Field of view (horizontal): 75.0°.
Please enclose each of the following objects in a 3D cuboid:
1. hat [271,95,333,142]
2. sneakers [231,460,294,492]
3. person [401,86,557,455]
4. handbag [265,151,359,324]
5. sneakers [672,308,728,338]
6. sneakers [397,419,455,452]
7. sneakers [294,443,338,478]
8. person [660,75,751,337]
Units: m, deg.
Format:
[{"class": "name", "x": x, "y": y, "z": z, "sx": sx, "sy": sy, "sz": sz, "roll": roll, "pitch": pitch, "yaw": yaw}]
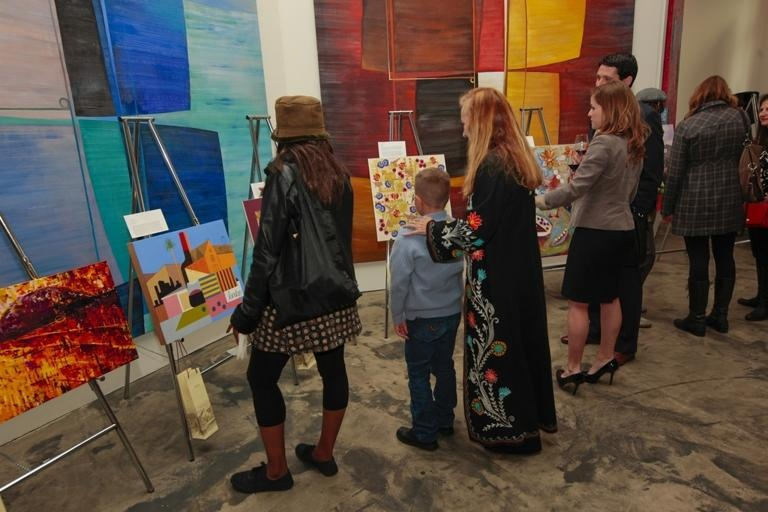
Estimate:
[{"class": "hat", "x": -0.485, "y": -0.836, "z": 2.992, "sx": 0.428, "sy": 0.236, "sz": 0.382, "roll": 14, "pitch": 24, "yaw": 37}, {"class": "sneakers", "x": -0.752, "y": 1.355, "z": 3.133, "sx": 0.407, "sy": 0.160, "sz": 0.160, "roll": 3, "pitch": 10, "yaw": -6}, {"class": "person", "x": 0.666, "y": 0.089, "z": 3.080, "sx": 0.670, "sy": 2.143, "sz": 0.626, "roll": -11, "pitch": 19, "yaw": -19}, {"class": "handbag", "x": -0.421, "y": -0.109, "z": 2.834, "sx": 0.531, "sy": 0.879, "sz": 0.428, "roll": -6, "pitch": 18, "yaw": -3}, {"class": "sneakers", "x": 2.797, "y": 0.568, "z": 4.569, "sx": 0.180, "sy": 0.214, "sz": 0.518, "roll": -18, "pitch": 12, "yaw": -13}, {"class": "sneakers", "x": 0.262, "y": 1.200, "z": 3.371, "sx": 0.142, "sy": 0.169, "sz": 0.412, "roll": -12, "pitch": 18, "yaw": -38}, {"class": "sneakers", "x": -0.421, "y": 1.291, "z": 3.258, "sx": 0.330, "sy": 0.126, "sz": 0.123, "roll": 22, "pitch": 13, "yaw": 36}, {"class": "person", "x": 2.759, "y": -0.421, "z": 4.346, "sx": 0.608, "sy": 2.162, "sz": 0.653, "roll": 8, "pitch": 22, "yaw": 34}]
